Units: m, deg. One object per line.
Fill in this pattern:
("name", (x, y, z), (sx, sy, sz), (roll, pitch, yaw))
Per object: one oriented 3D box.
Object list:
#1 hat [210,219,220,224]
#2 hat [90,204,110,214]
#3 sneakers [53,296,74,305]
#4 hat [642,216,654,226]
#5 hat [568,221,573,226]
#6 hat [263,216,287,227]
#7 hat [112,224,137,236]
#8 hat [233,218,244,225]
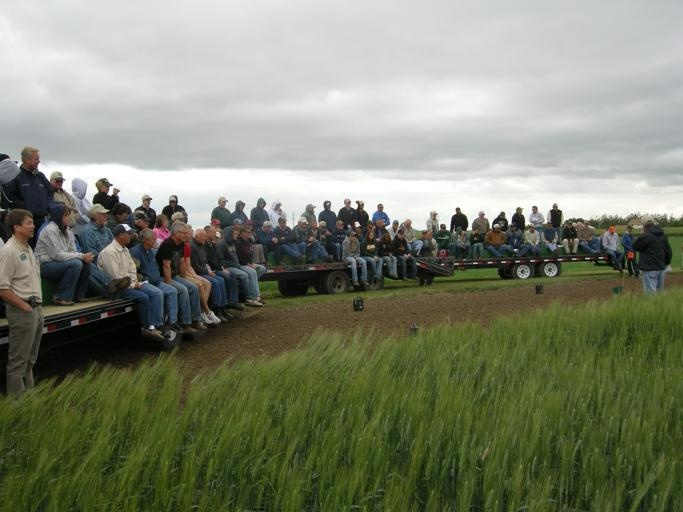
("hat", (-2.997, -0.824, 14.451), (0.121, 0.106, 0.170), (4, -5, -10))
("hat", (-3.685, -0.712, 9.190), (0.224, 0.136, 0.296), (-3, 1, -26))
("sneakers", (-3.617, 0.572, 7.924), (0.263, 0.129, 0.096), (1, 6, 5))
("hat", (6.224, -0.712, 12.291), (0.139, 0.199, 0.188), (3, 19, -2))
("hat", (9.048, -1.285, 24.133), (0.203, 0.076, 0.217), (-4, 20, 40))
("hat", (-1.751, -0.938, 16.719), (0.521, 0.233, 0.389), (-3, 5, 44))
("hat", (-3.167, -0.394, 8.917), (0.346, 0.188, 0.230), (0, 7, -31))
("hat", (-2.678, -0.906, 15.889), (0.247, 0.161, 0.341), (-2, -1, -31))
